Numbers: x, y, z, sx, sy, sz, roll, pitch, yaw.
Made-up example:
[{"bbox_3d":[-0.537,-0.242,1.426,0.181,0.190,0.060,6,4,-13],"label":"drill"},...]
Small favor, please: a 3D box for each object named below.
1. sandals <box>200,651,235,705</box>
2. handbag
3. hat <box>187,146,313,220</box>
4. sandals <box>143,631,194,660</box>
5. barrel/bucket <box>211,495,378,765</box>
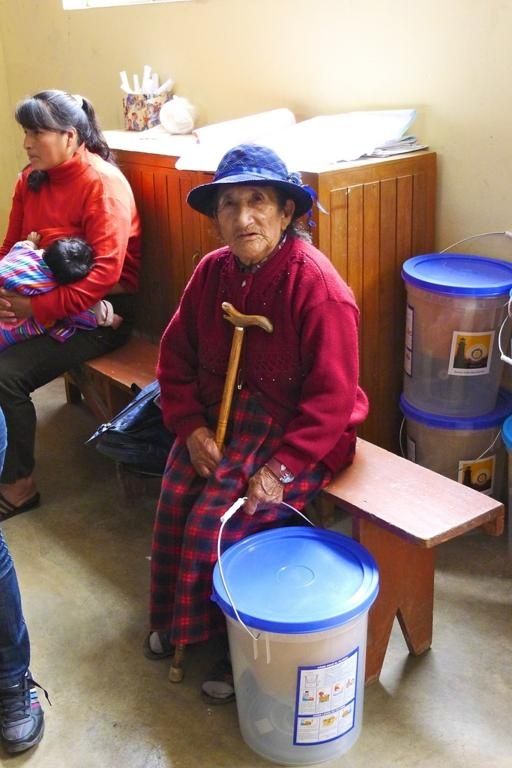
[{"bbox_3d":[-0.090,0.744,1.621,0.053,0.035,0.133,3,20,2],"label":"sandals"},{"bbox_3d":[-0.330,0.142,1.987,0.279,0.249,0.110,-37,-7,15],"label":"handbag"},{"bbox_3d":[0.003,-0.476,1.556,0.211,0.096,0.208,0,-5,3],"label":"hat"},{"bbox_3d":[-0.237,0.713,1.749,0.136,0.040,0.075,-3,55,-3],"label":"sandals"},{"bbox_3d":[0.093,0.571,1.383,0.342,0.471,0.352,-2,21,1],"label":"barrel/bucket"}]
